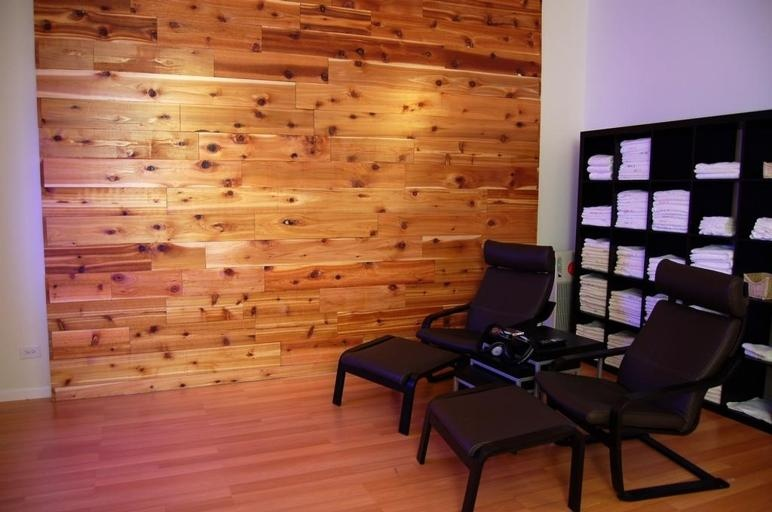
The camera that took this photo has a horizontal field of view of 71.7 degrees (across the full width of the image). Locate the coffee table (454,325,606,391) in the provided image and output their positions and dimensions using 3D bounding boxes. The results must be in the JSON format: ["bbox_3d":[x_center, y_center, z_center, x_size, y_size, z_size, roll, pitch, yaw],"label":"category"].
[{"bbox_3d":[1.157,0.844,4.411,0.928,0.240,0.572,-3,9,-20],"label":"coffee table"}]

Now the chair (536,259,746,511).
[{"bbox_3d":[1.926,0.842,3.886,1.198,1.578,0.835,0,12,-17],"label":"chair"}]

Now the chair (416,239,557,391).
[{"bbox_3d":[1.115,0.427,5.091,1.577,1.371,1.192,-4,7,-37],"label":"chair"}]

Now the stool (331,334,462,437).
[{"bbox_3d":[0.113,0.995,4.552,0.840,0.411,0.887,12,15,42],"label":"stool"}]
